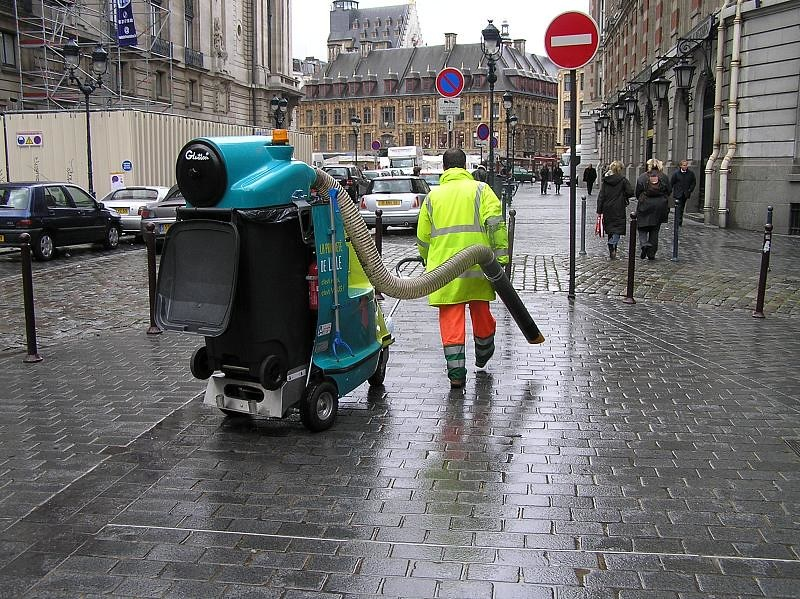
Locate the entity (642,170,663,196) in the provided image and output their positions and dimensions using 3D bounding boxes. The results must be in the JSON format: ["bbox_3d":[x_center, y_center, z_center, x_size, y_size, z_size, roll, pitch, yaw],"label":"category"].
[{"bbox_3d":[5.287,-2.414,14.478,0.441,0.586,0.326,1,-18,8],"label":"entity"}]

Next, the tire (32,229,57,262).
[{"bbox_3d":[-8.334,-1.273,16.208,0.229,0.772,0.735,4,13,10],"label":"tire"}]

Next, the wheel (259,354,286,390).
[{"bbox_3d":[-0.925,0.523,5.012,0.061,0.230,0.218,0,12,19],"label":"wheel"}]

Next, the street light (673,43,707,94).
[{"bbox_3d":[8.890,-7.366,21.247,1.159,1.773,0.516,3,1,3],"label":"street light"}]

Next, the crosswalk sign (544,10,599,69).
[{"bbox_3d":[2.324,-3.537,9.492,0.702,0.827,0.078,0,-4,10],"label":"crosswalk sign"}]

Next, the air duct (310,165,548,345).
[{"bbox_3d":[0.421,-0.231,6.259,3.071,0.719,0.464,23,-13,-37],"label":"air duct"}]

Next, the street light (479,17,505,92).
[{"bbox_3d":[2.994,-7.785,22.661,0.605,2.684,0.649,-1,23,6],"label":"street light"}]

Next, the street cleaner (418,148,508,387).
[{"bbox_3d":[0.597,-0.217,6.786,0.982,2.195,0.946,-1,1,-41],"label":"street cleaner"}]

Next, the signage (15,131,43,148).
[{"bbox_3d":[-13.421,-5.826,25.121,0.772,0.475,0.143,-2,-10,14],"label":"signage"}]

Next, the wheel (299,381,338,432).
[{"bbox_3d":[-0.618,0.817,5.351,0.123,0.399,0.374,4,9,34],"label":"wheel"}]

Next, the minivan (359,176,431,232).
[{"bbox_3d":[-0.012,-2.833,22.802,2.018,1.889,4.096,0,0,7],"label":"minivan"}]

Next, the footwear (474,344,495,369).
[{"bbox_3d":[0.839,0.572,6.908,0.068,0.218,0.140,15,-3,20],"label":"footwear"}]

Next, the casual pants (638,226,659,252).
[{"bbox_3d":[5.133,-1.253,14.350,0.362,0.515,0.252,2,10,17],"label":"casual pants"}]
